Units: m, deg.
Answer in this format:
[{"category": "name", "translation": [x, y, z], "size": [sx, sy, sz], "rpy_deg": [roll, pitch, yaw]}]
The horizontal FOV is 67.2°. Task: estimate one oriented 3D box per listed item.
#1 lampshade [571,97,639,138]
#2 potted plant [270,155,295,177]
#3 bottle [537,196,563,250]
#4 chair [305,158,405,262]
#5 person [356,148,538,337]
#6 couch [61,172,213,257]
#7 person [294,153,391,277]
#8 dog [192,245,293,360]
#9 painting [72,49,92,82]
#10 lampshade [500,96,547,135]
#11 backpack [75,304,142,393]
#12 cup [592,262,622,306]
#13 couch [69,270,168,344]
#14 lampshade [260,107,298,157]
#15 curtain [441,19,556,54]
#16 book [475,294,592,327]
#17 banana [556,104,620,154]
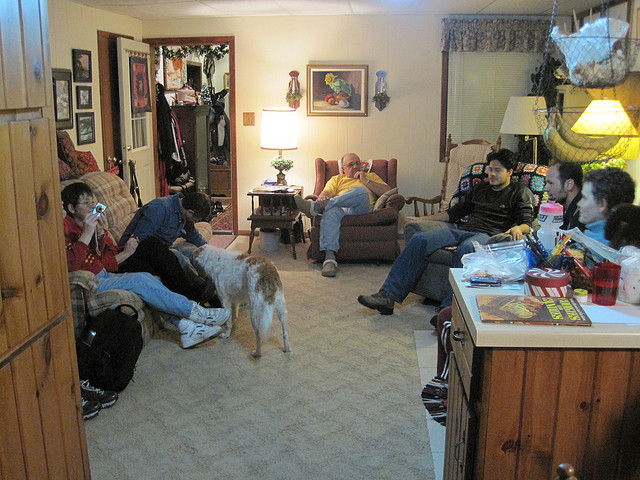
[{"category": "lampshade", "translation": [1.141, -0.467, 1.932], "size": [0.208, 0.117, 0.208], "rpy_deg": [-4, 9, -16]}, {"category": "potted plant", "translation": [-0.518, -0.991, 6.515], "size": [0.314, 0.267, 0.319], "rpy_deg": [1, 8, 1]}, {"category": "bottle", "translation": [1.054, -0.064, 2.199], "size": [0.105, 0.197, 0.283], "rpy_deg": [8, 19, 25]}, {"category": "chair", "translation": [0.606, -0.333, 6.234], "size": [1.320, 1.557, 1.276], "rpy_deg": [0, 4, 2]}, {"category": "person", "translation": [1.239, -0.087, 4.414], "size": [1.421, 1.662, 1.094], "rpy_deg": [2, 9, -25]}, {"category": "couch", "translation": [-1.769, -0.326, 4.695], "size": [0.972, 0.614, 0.958], "rpy_deg": [15, 14, 0]}, {"category": "person", "translation": [0.262, -0.390, 5.874], "size": [1.155, 1.626, 0.772], "rpy_deg": [6, -10, -40]}, {"category": "dog", "translation": [-0.616, 0.452, 3.826], "size": [1.079, 0.687, 0.318], "rpy_deg": [17, 19, 42]}, {"category": "painting", "translation": [-2.696, -1.971, 5.469], "size": [0.420, 0.367, 0.033], "rpy_deg": [19, 21, 39]}, {"category": "lampshade", "translation": [2.293, -1.410, 5.473], "size": [0.394, 0.413, 0.242], "rpy_deg": [6, 18, 19]}, {"category": "backpack", "translation": [-1.419, 0.728, 3.206], "size": [0.369, 0.520, 0.184], "rpy_deg": [29, -28, -25]}, {"category": "cup", "translation": [1.057, 0.159, 1.779], "size": [0.088, 0.139, 0.115], "rpy_deg": [11, 20, 32]}, {"category": "couch", "translation": [-1.487, 0.404, 3.497], "size": [0.463, 0.566, 0.811], "rpy_deg": [-4, 9, 6]}, {"category": "lampshade", "translation": [-0.424, -1.501, 6.508], "size": [0.494, 0.752, 0.529], "rpy_deg": [5, 15, 21]}, {"category": "curtain", "translation": [2.330, -2.662, 6.262], "size": [1.405, 0.435, 0.098], "rpy_deg": [2, -5, 8]}, {"category": "book", "translation": [0.730, 0.241, 1.680], "size": [0.365, 0.018, 0.248], "rpy_deg": [1, 17, 6]}, {"category": "banana", "translation": [1.074, -0.434, 1.938], "size": [0.185, 0.082, 0.187], "rpy_deg": [8, 11, -5]}]
